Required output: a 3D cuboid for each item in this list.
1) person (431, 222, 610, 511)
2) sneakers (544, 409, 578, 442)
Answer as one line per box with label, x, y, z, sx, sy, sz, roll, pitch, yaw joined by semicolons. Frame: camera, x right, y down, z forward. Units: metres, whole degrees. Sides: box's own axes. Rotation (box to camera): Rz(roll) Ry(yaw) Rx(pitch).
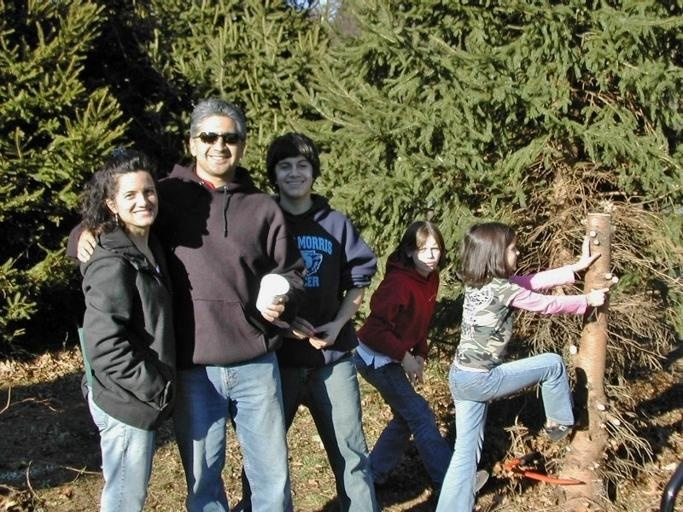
person;1.217;0.918;4.553;1.173;2.242;0.694;-3;19;-13
sneakers;1.664;1.297;4.651;0.140;0.169;0.384;8;-3;27
